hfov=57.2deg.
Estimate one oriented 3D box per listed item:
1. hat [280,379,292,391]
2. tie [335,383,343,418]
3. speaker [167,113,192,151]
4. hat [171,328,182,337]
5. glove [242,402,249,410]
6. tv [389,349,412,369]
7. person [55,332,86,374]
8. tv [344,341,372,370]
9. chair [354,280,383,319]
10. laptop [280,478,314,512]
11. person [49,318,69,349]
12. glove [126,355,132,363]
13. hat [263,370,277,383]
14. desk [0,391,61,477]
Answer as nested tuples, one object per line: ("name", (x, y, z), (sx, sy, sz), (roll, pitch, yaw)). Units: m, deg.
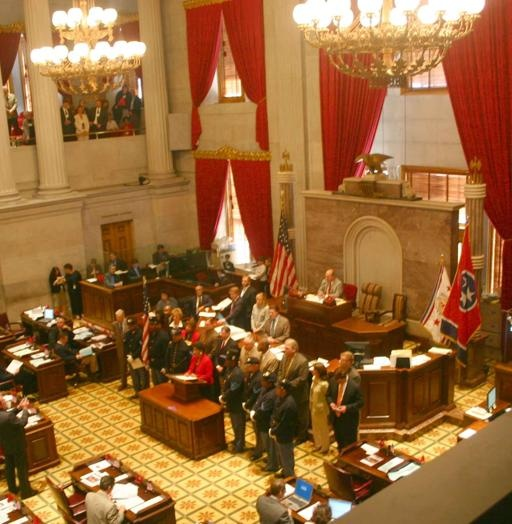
("hat", (0.416, 1.744, 6.616), (0.138, 0.206, 0.276), (1, 7, 15))
("tie", (1.201, 1.999, 6.737), (0.100, 0.461, 0.225), (0, 7, 12))
("speaker", (-2.699, -4.610, 16.599), (0.778, 1.284, 0.202), (-2, 7, -6))
("hat", (-1.498, 1.334, 8.895), (0.175, 0.136, 0.339), (-3, 7, -12))
("glove", (-0.161, 2.255, 7.370), (0.037, 0.139, 0.144), (-22, -8, -21))
("tv", (2.387, 1.573, 7.794), (0.323, 0.206, 0.312), (-2, 7, -1))
("person", (-4.183, 2.034, 10.502), (0.583, 0.991, 0.498), (-4, 17, -26))
("tv", (1.648, 1.514, 7.619), (0.425, 0.400, 0.210), (-1, 3, 1))
("chair", (2.654, 0.838, 11.080), (0.670, 0.876, 0.780), (12, 15, 41))
("laptop", (0.495, 2.659, 5.444), (0.246, 0.266, 0.328), (9, 3, -37))
("person", (-4.490, 1.628, 10.715), (0.253, 0.730, 0.246), (7, 28, -2))
("glove", (-2.560, 1.913, 9.418), (0.119, 0.131, 0.148), (-2, 13, -22))
("hat", (0.196, 1.709, 6.960), (0.164, 0.164, 0.264), (1, 7, 17))
("desk", (-3.756, 2.890, 7.800), (0.551, 0.903, 1.535), (-14, 22, -42))
